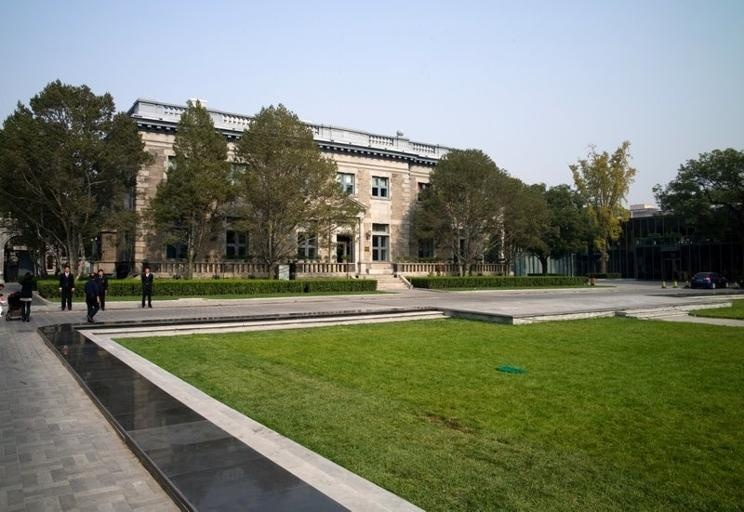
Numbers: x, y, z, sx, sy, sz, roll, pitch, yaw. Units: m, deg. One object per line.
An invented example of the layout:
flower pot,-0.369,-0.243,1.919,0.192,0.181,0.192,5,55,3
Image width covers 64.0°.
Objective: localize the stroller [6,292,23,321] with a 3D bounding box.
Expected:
stroller,-13.716,1.919,22.743,0.547,1.081,1.073,-5,10,-33
